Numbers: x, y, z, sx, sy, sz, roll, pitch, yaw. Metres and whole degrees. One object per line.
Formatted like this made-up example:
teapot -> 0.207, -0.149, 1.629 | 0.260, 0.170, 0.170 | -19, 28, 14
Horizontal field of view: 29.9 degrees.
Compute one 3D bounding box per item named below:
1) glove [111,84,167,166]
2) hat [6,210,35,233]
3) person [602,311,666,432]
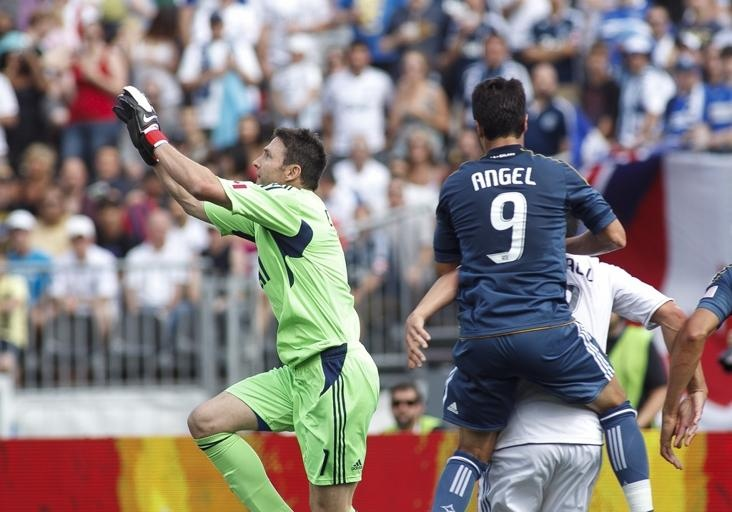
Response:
glove -> -1.964, -1.169, 12.208 | 0.436, 0.715, 0.278 | -41, -18, 0
hat -> -4.391, -0.433, 17.456 | 0.370, 0.251, 0.939 | -5, 4, -14
person -> 2.888, 1.201, 14.649 | 0.375, 1.179, 0.807 | -7, 14, -25
